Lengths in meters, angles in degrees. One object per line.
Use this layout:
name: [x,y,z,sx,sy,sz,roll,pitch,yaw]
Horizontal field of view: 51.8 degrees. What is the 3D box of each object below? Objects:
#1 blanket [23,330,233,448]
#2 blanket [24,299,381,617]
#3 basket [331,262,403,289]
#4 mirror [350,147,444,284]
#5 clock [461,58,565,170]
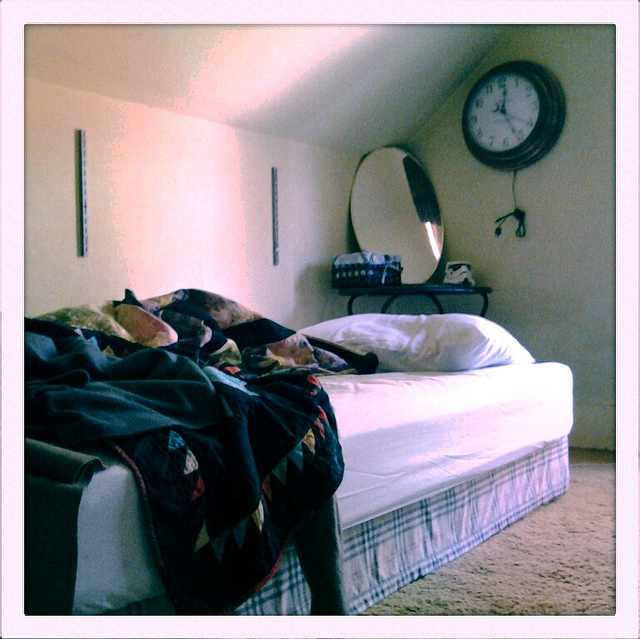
blanket: [-0.454,0.127,1.483,0.397,0.199,0.535,-5,4,-27]
blanket: [-0.333,0.277,1.517,0.698,0.321,0.735,9,9,33]
basket: [0.241,-0.225,3.373,0.354,0.131,0.155,-3,4,3]
mirror: [0.424,-0.570,3.632,0.510,0.750,0.129,-1,5,12]
clock: [0.917,-0.977,3.170,0.103,0.516,0.573,-5,5,-30]
